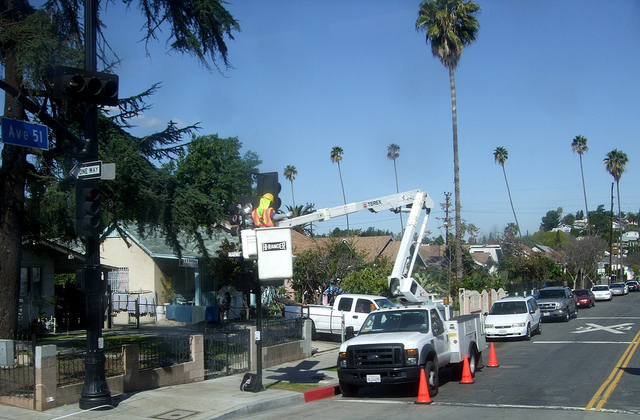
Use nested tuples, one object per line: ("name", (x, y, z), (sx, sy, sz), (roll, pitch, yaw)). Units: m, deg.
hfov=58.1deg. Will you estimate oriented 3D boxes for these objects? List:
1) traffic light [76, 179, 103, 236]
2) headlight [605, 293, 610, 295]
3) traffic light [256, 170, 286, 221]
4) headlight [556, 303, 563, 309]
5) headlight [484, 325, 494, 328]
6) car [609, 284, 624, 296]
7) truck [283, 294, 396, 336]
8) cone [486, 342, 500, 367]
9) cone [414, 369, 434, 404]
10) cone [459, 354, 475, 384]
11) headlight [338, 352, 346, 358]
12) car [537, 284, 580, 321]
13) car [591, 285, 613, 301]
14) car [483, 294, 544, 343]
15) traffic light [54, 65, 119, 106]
("traffic light", (-6.756, -0.312, 16.790), (0.760, 2.033, 0.616), (2, -7, -29))
("headlight", (29.805, 8.661, 59.645), (0.299, 0.125, 0.199), (-3, -1, -15))
("traffic light", (-1.634, -0.500, 18.624), (0.825, 1.374, 1.251), (-2, -8, -9))
("headlight", (15.576, 6.187, 37.312), (0.288, 0.309, 0.078), (-1, -18, 13))
("headlight", (8.635, 5.881, 29.205), (0.381, 0.138, 0.108), (-5, -8, 12))
("car", (36.289, 9.555, 70.088), (1.124, 0.941, 1.997), (-5, -11, 22))
("truck", (0.593, 4.964, 28.171), (4.792, 1.802, 2.404), (-4, -5, 32))
("cone", (6.748, 5.709, 22.621), (0.668, 0.971, 0.699), (-1, -9, 1))
("cone", (2.960, 5.452, 17.585), (0.678, 1.033, 0.742), (-2, -13, 5))
("cone", (5.000, 5.430, 19.721), (0.499, 0.930, 0.616), (-5, -8, 14))
("headlight", (0.678, 4.618, 18.387), (0.129, 0.158, 0.366), (0, -9, -23))
("car", (16.030, 6.300, 38.792), (2.087, 2.237, 3.849), (-7, -8, 23))
("car", (29.828, 8.780, 60.790), (1.562, 1.452, 2.447), (-6, -8, 19))
("car", (10.062, 5.715, 30.159), (2.553, 2.131, 3.562), (-6, -8, 20))
("traffic light", (-6.474, -3.462, 16.650), (1.504, 0.945, 0.809), (1, -8, -15))
